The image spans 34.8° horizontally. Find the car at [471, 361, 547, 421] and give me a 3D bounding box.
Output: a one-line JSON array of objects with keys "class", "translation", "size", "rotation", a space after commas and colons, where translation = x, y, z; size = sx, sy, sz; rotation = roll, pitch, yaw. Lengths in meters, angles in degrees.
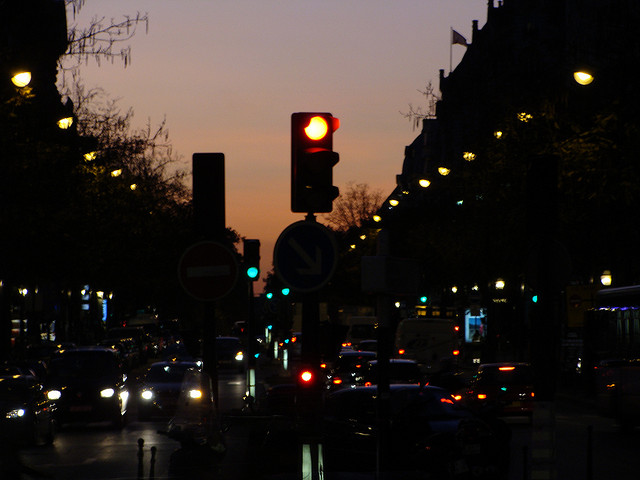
[{"class": "car", "translation": [5.055, 3.794, 27.667], "size": [1.947, 1.687, 3.492], "rotation": [-1, -1, 4]}]

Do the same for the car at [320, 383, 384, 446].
[{"class": "car", "translation": [0.695, 3.677, 21.370], "size": [1.935, 0.985, 1.186], "rotation": [-2, 6, 2]}]

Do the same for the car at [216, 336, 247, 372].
[{"class": "car", "translation": [-4.632, 6.002, 53.640], "size": [1.422, 1.855, 2.459], "rotation": [1, -9, -4]}]

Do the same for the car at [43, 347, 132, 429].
[{"class": "car", "translation": [-6.854, 4.439, 30.967], "size": [1.653, 1.621, 2.906], "rotation": [0, -9, -4]}]

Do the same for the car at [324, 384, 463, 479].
[{"class": "car", "translation": [1.445, 3.862, 20.938], "size": [1.496, 1.142, 3.302], "rotation": [1, 0, -31]}]

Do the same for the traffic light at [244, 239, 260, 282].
[{"class": "traffic light", "translation": [-1.656, 0.512, 25.015], "size": [0.363, 1.064, 0.531], "rotation": [1, -9, -6]}]

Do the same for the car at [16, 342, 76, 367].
[{"class": "car", "translation": [-13.035, 5.235, 48.657], "size": [2.003, 1.512, 4.425], "rotation": [0, -7, 7]}]

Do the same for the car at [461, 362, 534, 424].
[{"class": "car", "translation": [5.142, 4.347, 28.885], "size": [1.650, 1.680, 1.619], "rotation": [-1, -9, 5]}]

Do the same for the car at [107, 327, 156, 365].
[{"class": "car", "translation": [-12.114, 6.726, 66.505], "size": [1.791, 1.604, 3.248], "rotation": [-1, 2, -1]}]

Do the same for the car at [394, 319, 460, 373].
[{"class": "car", "translation": [4.796, 4.654, 45.017], "size": [2.704, 2.252, 0.758], "rotation": [-1, -9, 5]}]

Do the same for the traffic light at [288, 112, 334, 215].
[{"class": "traffic light", "translation": [-0.101, -1.163, 15.659], "size": [0.648, 1.525, 0.336], "rotation": [0, -8, 0]}]

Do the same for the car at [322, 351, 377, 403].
[{"class": "car", "translation": [0.998, 4.795, 35.389], "size": [2.855, 1.557, 1.751], "rotation": [0, -4, -3]}]
